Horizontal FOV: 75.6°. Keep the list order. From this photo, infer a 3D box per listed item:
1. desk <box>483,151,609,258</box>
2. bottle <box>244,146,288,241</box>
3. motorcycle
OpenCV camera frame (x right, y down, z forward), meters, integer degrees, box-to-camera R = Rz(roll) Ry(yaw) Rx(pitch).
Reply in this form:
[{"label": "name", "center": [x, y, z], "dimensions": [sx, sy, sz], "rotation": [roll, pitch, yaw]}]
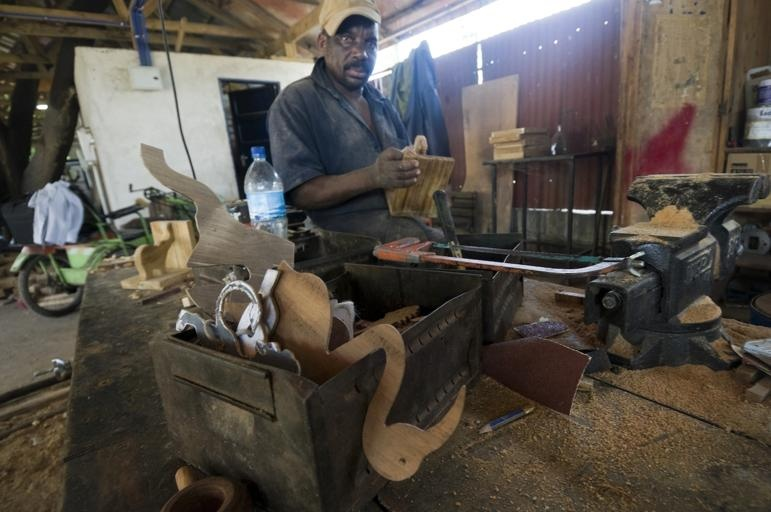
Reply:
[{"label": "desk", "center": [1.597, -0.554, 4.770], "dimensions": [0.465, 1.015, 1.110], "rotation": [-22, 23, -40]}, {"label": "bottle", "center": [-0.654, -0.379, 2.703], "dimensions": [0.200, 0.459, 0.689], "rotation": [-5, 13, -15]}, {"label": "motorcycle", "center": [-2.880, -0.025, 5.306], "dimensions": [1.990, 1.583, 1.031], "rotation": [0, 14, 22]}]
